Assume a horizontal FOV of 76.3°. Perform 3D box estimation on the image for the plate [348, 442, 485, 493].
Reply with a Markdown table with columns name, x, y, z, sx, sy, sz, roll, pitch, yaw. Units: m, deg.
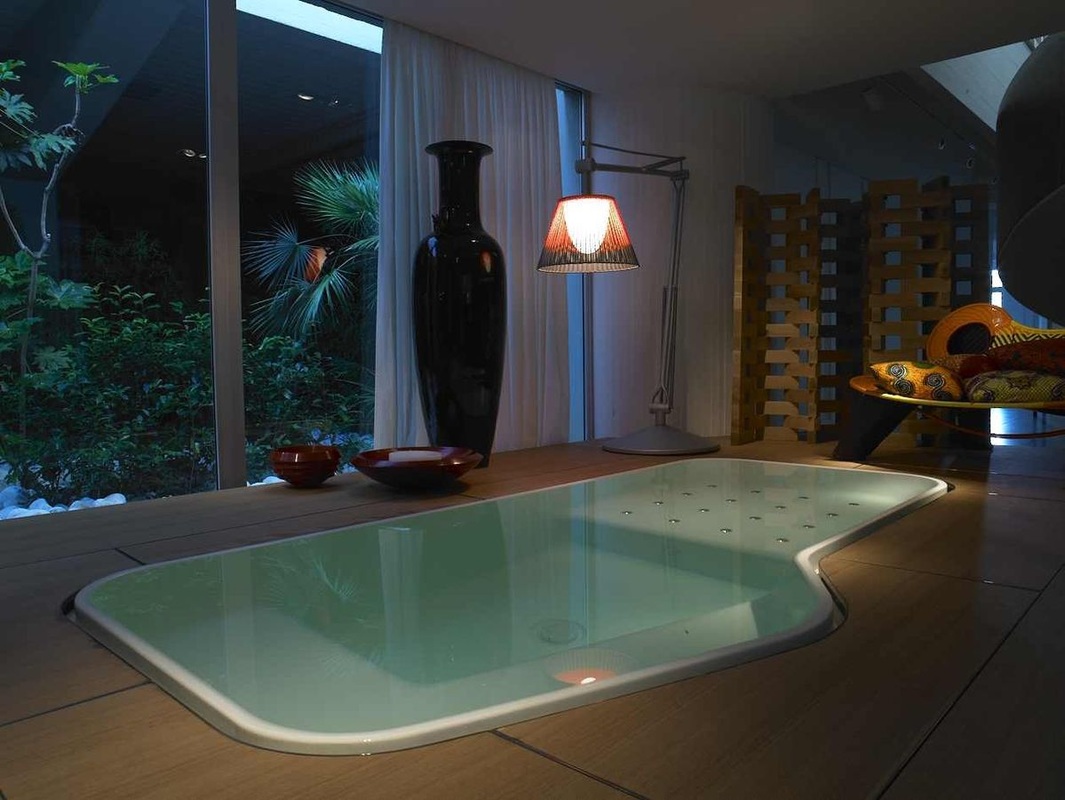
| name | x | y | z | sx | sy | sz | roll | pitch | yaw |
| --- | --- | --- | --- | --- | --- | --- | --- | --- | --- |
| plate | -0.470 | 0.290 | 2.762 | 0.483 | 0.143 | 0.378 | 2 | 5 | 22 |

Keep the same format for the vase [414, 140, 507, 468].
| name | x | y | z | sx | sy | sz | roll | pitch | yaw |
| --- | --- | --- | --- | --- | --- | --- | --- | --- | --- |
| vase | -0.337 | -0.439 | 3.119 | 0.417 | 1.515 | 0.224 | -1 | 5 | -11 |

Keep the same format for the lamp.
| name | x | y | z | sx | sy | sz | roll | pitch | yaw |
| --- | --- | --- | --- | --- | --- | --- | --- | --- | --- |
| lamp | 0.560 | -0.690 | 3.887 | 0.989 | 1.933 | 1.345 | 1 | 5 | 12 |

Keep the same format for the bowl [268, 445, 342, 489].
| name | x | y | z | sx | sy | sz | roll | pitch | yaw |
| --- | --- | --- | --- | --- | --- | --- | --- | --- | --- |
| bowl | -0.938 | 0.271 | 2.842 | 0.208 | 0.117 | 0.207 | 0 | -4 | 0 |
